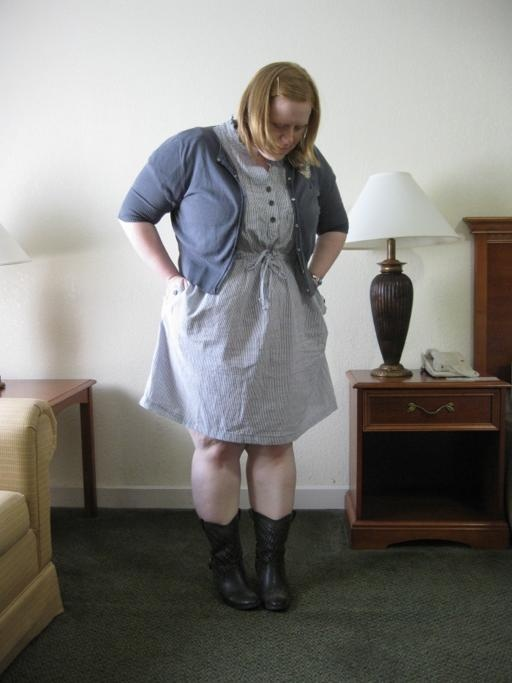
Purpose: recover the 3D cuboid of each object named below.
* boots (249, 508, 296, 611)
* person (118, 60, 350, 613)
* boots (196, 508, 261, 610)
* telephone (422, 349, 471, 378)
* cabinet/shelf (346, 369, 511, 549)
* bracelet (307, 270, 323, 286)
[{"bbox_3d":[0.046,0.608,1.617,0.111,0.242,0.250,2,2,-7],"label":"boots"},{"bbox_3d":[-0.040,0.025,1.599,0.507,1.368,0.472,1,3,22],"label":"person"},{"bbox_3d":[-0.069,0.609,1.587,0.085,0.220,0.221,-6,7,-25],"label":"boots"},{"bbox_3d":[0.670,0.058,2.037,0.096,0.061,0.134,4,14,-1],"label":"telephone"},{"bbox_3d":[0.596,0.411,2.191,0.669,0.686,0.563,-1,0,3],"label":"cabinet/shelf"},{"bbox_3d":[0.162,-0.175,1.596,0.037,0.024,0.041,35,-16,-36],"label":"bracelet"}]
